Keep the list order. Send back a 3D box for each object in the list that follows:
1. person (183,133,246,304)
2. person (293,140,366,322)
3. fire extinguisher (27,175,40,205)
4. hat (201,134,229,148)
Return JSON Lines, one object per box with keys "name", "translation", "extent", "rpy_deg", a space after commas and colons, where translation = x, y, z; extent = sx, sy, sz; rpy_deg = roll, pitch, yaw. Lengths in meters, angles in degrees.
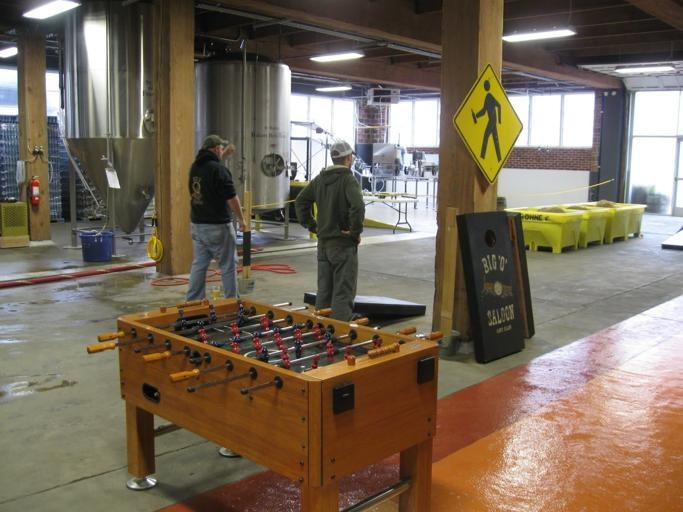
{"name": "person", "translation": [-1.434, -0.382, 5.821], "extent": [0.653, 1.870, 0.644], "rpy_deg": [-2, 13, -12]}
{"name": "person", "translation": [-0.074, -0.269, 5.167], "extent": [0.484, 1.701, 0.904], "rpy_deg": [-4, 14, -18]}
{"name": "fire extinguisher", "translation": [-6.293, -1.315, 10.626], "extent": [0.260, 0.634, 0.205], "rpy_deg": [-9, 16, -35]}
{"name": "hat", "translation": [-1.437, -1.269, 5.805], "extent": [0.222, 0.138, 0.159], "rpy_deg": [-3, 14, -16]}
